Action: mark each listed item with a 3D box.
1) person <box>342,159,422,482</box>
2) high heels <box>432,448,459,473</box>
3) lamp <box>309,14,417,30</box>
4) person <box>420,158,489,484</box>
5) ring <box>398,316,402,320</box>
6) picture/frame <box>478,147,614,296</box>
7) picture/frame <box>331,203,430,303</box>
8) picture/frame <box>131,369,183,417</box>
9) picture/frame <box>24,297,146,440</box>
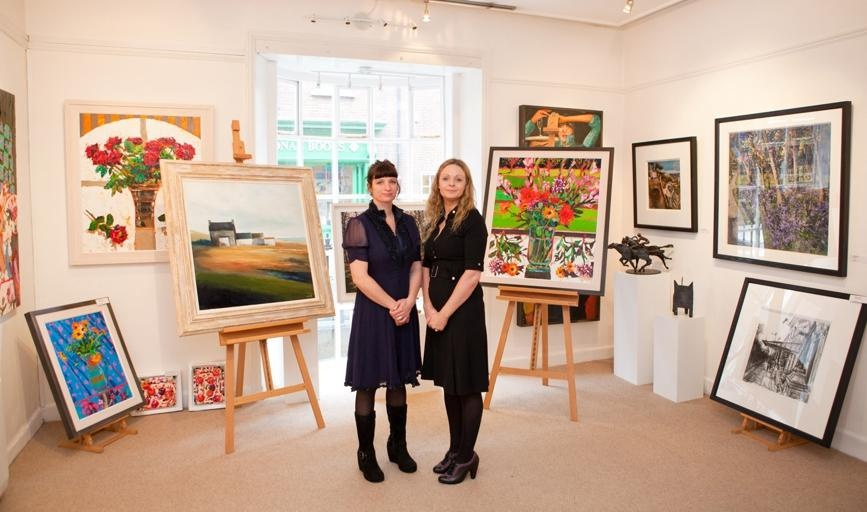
[{"bbox_3d":[-0.452,0.569,5.051,0.694,2.798,0.628,0,12,-4],"label":"person"},{"bbox_3d":[0.131,1.854,5.126,0.121,0.113,0.295,1,1,38],"label":"high heels"},{"bbox_3d":[-0.763,-2.602,6.325,1.235,0.173,0.078,-2,12,-15],"label":"lamp"},{"bbox_3d":[0.179,0.565,5.064,0.570,2.808,0.725,1,12,-2],"label":"person"},{"bbox_3d":[-0.280,0.530,4.930,0.045,0.031,0.005,-2,12,-15],"label":"ring"},{"bbox_3d":[1.180,-0.347,5.911,1.687,1.733,0.084,2,-4,4],"label":"picture/frame"},{"bbox_3d":[-0.499,-0.014,5.256,1.184,1.054,0.089,-2,4,-23],"label":"picture/frame"},{"bbox_3d":[-2.911,1.445,5.950,0.574,0.446,0.041,-2,-7,-17],"label":"picture/frame"},{"bbox_3d":[-3.362,1.049,5.546,0.598,1.154,0.716,9,14,32],"label":"picture/frame"}]
